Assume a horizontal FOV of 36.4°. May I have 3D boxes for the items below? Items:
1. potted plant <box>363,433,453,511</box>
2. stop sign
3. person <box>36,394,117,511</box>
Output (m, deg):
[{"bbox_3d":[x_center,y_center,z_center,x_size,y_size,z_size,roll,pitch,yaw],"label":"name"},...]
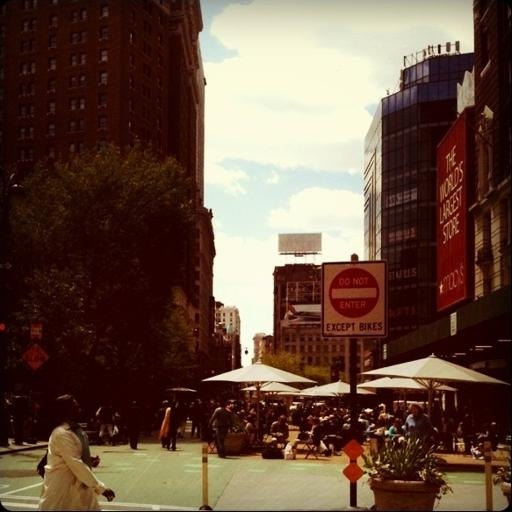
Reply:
[{"bbox_3d":[2.322,3.373,11.977,1.148,1.084,1.354,-2,-13,15],"label":"potted plant"},{"bbox_3d":[1.487,0.679,11.499,0.833,1.245,0.111,-1,-7,4],"label":"stop sign"},{"bbox_3d":[-2.009,2.175,8.658,0.700,1.254,1.089,5,-12,-17],"label":"person"}]
